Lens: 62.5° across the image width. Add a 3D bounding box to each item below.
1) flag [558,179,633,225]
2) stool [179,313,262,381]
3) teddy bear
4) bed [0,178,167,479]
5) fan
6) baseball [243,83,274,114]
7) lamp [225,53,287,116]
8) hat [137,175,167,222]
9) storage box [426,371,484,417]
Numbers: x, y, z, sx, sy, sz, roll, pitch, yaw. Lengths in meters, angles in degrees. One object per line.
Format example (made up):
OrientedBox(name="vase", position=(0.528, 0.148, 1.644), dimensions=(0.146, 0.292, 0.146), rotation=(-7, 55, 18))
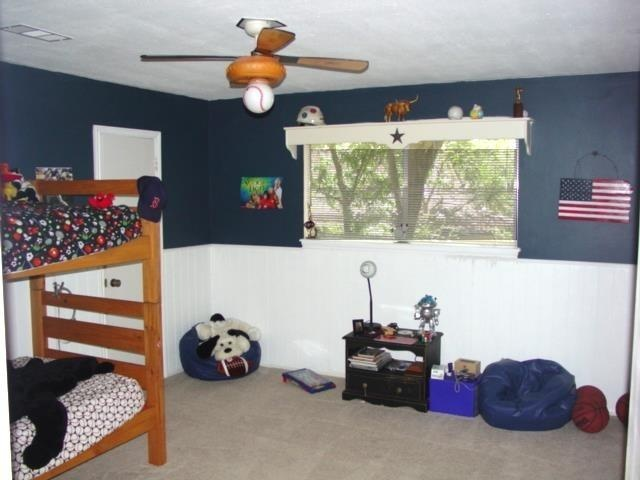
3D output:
OrientedBox(name="flag", position=(2.611, -0.354, 4.931), dimensions=(0.413, 0.301, 0.022), rotation=(6, 10, 24))
OrientedBox(name="stool", position=(-1.156, 1.181, 5.869), dimensions=(0.685, 0.412, 0.674), rotation=(1, 0, -42))
OrientedBox(name="teddy bear", position=(-1.045, 1.079, 6.013), dimensions=(0.698, 0.295, 0.770), rotation=(3, 27, -2))
OrientedBox(name="bed", position=(-1.802, 0.639, 4.282), dimensions=(1.185, 2.265, 1.531), rotation=(-6, 11, -30))
OrientedBox(name="fan", position=(-0.339, -1.173, 3.392), dimensions=(0.710, 0.146, 0.719), rotation=(-1, 3, 34))
OrientedBox(name="baseball", position=(-0.401, -0.875, 3.307), dimensions=(0.163, 0.188, 0.161), rotation=(5, 4, 7))
OrientedBox(name="lamp", position=(-0.405, -0.975, 3.318), dimensions=(0.343, 0.327, 0.344), rotation=(-2, 10, -10))
OrientedBox(name="hat", position=(-1.306, -0.322, 4.089), dimensions=(0.122, 0.343, 0.224), rotation=(-13, -13, 41))
OrientedBox(name="storage box", position=(1.253, 1.469, 4.949), dimensions=(0.377, 0.284, 0.380), rotation=(0, 0, 23))
